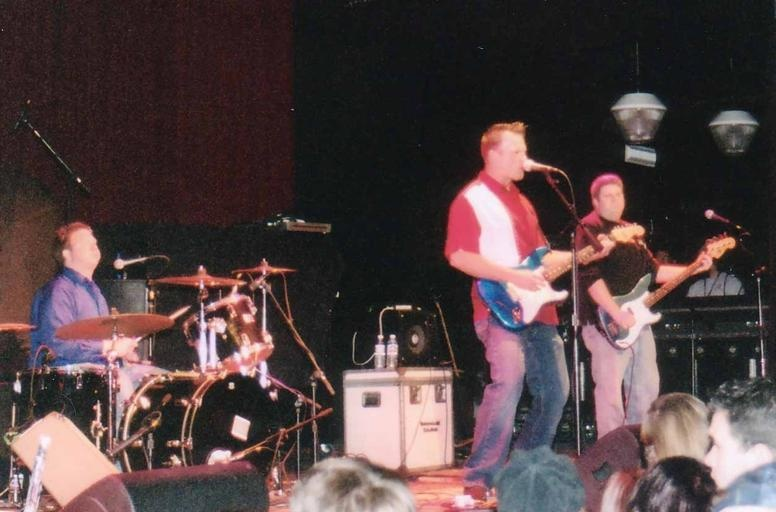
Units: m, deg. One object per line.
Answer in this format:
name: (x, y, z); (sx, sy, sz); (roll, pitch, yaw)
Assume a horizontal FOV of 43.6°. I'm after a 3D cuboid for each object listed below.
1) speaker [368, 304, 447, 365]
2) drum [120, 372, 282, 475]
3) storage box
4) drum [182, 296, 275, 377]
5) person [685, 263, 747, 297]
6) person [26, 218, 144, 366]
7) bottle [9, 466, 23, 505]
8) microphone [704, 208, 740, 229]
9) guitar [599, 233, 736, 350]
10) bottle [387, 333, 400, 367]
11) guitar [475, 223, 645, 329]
speaker: (0.166, 0.804, 9.900); (0.582, 0.502, 0.305); (11, -20, -42)
drum: (-1.642, 1.414, 8.463); (1.412, 0.793, 0.276); (7, -12, -42)
storage box: (0.083, 1.688, 9.879); (0.927, 0.955, 1.143); (-2, -10, 21)
drum: (-1.526, 0.739, 9.090); (0.759, 0.763, 1.058); (3, -10, -23)
person: (3.695, 0.378, 10.976); (0.556, 0.300, 0.754); (0, 16, 31)
person: (-2.960, 0.321, 9.066); (0.666, 1.379, 0.702); (2, -9, -20)
bottle: (-3.161, 1.921, 8.227); (0.137, 0.330, 0.138); (-1, -9, 0)
microphone: (3.834, -0.447, 11.083); (0.523, 0.093, 0.113); (26, 2, -26)
guitar: (2.721, 0.383, 9.393); (1.305, 0.367, 0.187); (-31, -8, -20)
bottle: (0.057, 0.930, 9.692); (0.112, 0.329, 0.188); (1, -9, -13)
guitar: (1.456, 0.117, 8.145); (1.669, 0.596, 0.196); (-26, 1, -24)
